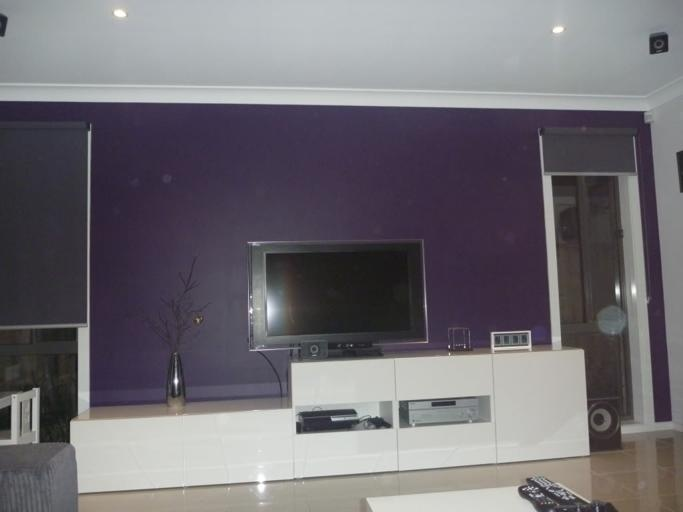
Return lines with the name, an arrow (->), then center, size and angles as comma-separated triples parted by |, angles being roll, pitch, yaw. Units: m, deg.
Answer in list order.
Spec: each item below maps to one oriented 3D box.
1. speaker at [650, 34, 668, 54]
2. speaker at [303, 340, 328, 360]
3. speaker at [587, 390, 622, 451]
speaker -> 2.456, -1.645, 4.929 | 0.131, 0.143, 0.071 | -1, 5, 11
speaker -> -0.218, 0.785, 5.284 | 0.190, 0.145, 0.067 | 2, -7, -3
speaker -> 2.307, 1.467, 5.578 | 0.347, 0.548, 0.275 | 0, -10, 1
